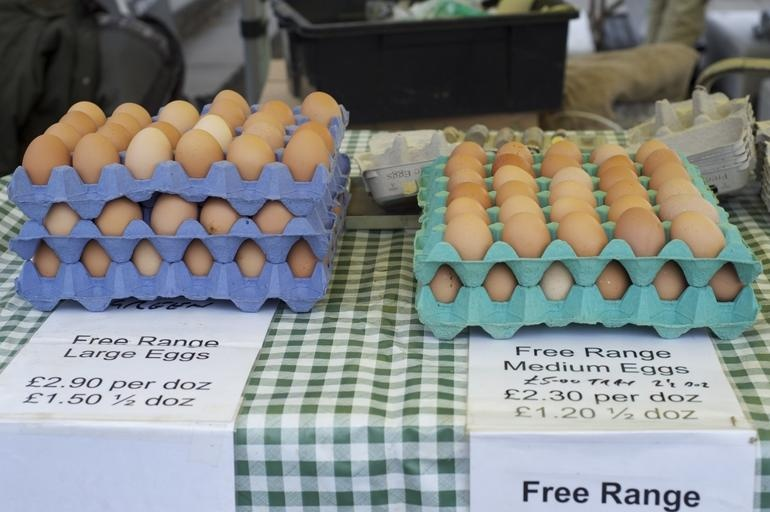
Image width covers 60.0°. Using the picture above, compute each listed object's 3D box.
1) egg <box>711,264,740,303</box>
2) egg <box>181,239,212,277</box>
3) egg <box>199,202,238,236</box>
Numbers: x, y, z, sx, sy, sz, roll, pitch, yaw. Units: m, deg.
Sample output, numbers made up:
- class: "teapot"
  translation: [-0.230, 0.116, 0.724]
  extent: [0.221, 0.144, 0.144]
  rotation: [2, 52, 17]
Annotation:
- class: "egg"
  translation: [0.610, 0.047, 1.189]
  extent: [0.047, 0.065, 0.023]
  rotation: [5, 11, 9]
- class: "egg"
  translation: [-0.362, 0.002, 1.283]
  extent: [0.055, 0.019, 0.080]
  rotation: [-7, 58, -14]
- class: "egg"
  translation: [-0.309, -0.073, 1.236]
  extent: [0.052, 0.054, 0.068]
  rotation: [1, 32, -3]
